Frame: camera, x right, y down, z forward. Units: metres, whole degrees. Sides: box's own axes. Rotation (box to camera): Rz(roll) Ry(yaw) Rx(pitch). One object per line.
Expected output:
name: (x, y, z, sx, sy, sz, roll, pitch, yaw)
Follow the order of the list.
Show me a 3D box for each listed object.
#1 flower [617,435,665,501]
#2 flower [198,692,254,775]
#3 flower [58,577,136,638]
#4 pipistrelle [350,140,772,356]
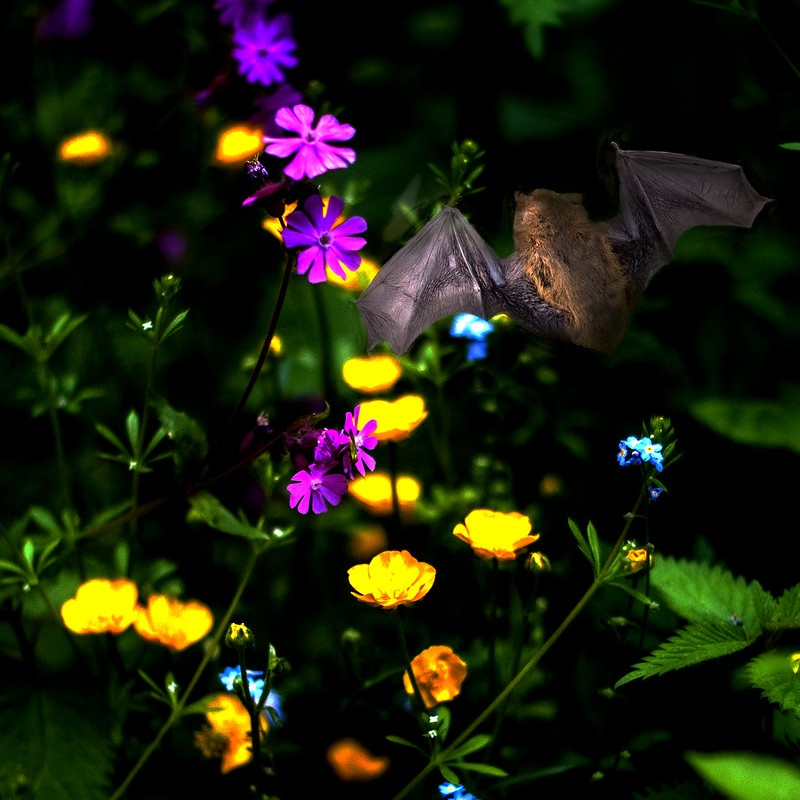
flower: (0.303, 0.073, 1.316, 0.063, 0.078, 0.078, -20, 68, 10)
flower: (-0.230, 0.466, 1.431, 0.083, 0.097, 0.020, -29, -2, 21)
flower: (-0.407, 0.286, 1.373, 0.076, 0.031, 0.083, 34, 61, 22)
pipistrelle: (0.251, -0.219, 1.528, 0.664, 0.306, 0.120, -28, 23, -5)
